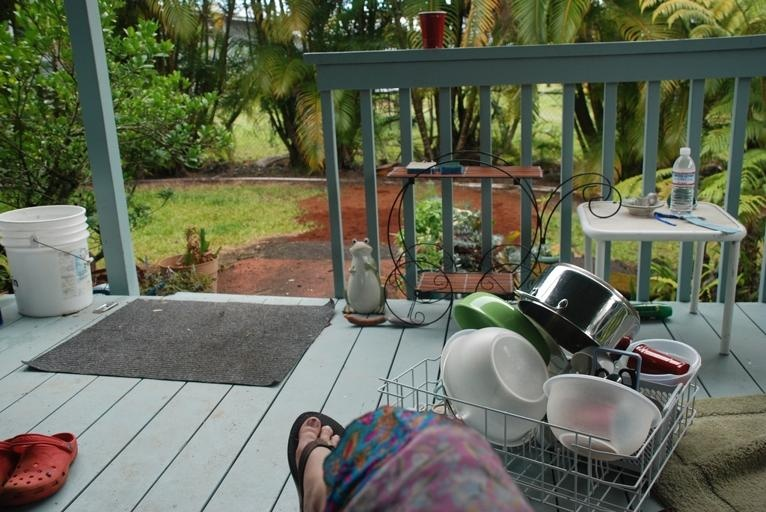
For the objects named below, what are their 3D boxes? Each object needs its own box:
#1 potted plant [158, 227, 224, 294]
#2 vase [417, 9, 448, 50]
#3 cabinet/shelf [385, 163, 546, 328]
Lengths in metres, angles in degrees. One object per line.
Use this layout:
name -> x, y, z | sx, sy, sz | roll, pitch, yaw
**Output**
potted plant -> -1.586, 0.007, 4.578 | 0.578, 0.628, 0.494 | 1, 11, 14
vase -> 0.214, -1.035, 2.560 | 0.175, 0.186, 0.177 | -3, 18, -3
cabinet/shelf -> 0.398, -0.114, 2.671 | 0.676, 0.801, 0.539 | -1, 10, 11
